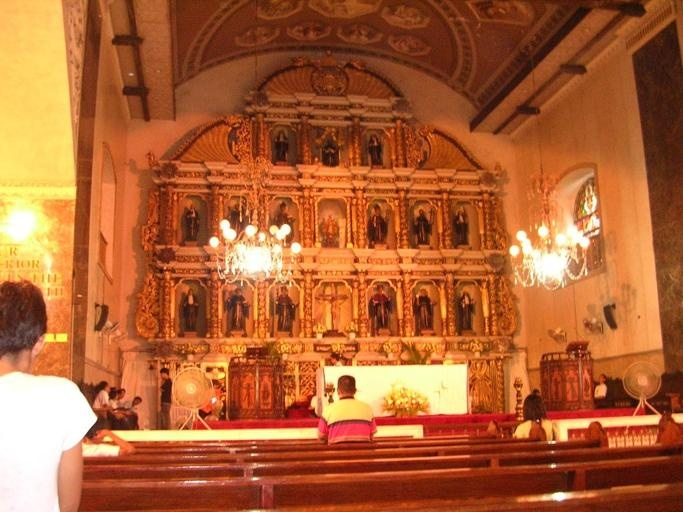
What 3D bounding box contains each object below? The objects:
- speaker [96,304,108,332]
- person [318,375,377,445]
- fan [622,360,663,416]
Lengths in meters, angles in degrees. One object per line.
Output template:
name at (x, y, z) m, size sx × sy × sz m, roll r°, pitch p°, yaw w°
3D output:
speaker at (-4.345, 1.117, 13.806) m, size 0.122 × 0.392 × 0.377 m, roll 8°, pitch -5°, yaw -19°
person at (0.106, 1.558, 8.315) m, size 0.826 × 1.007 × 0.592 m, roll 1°, pitch -5°, yaw -2°
fan at (4.834, 2.134, 12.207) m, size 0.569 × 0.854 × 0.585 m, roll -6°, pitch -10°, yaw 17°
